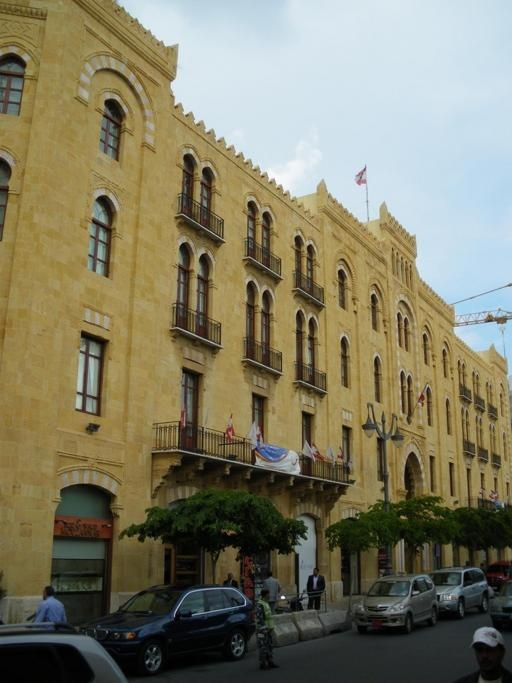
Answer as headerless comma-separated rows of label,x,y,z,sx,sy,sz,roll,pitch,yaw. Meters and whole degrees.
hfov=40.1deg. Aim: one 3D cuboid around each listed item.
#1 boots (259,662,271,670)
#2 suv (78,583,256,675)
boots,0.160,6.179,13.315,0.216,0.102,0.245,-1,-19,0
suv,-1.718,5.705,14.019,1.581,1.501,3.324,-17,-30,35
